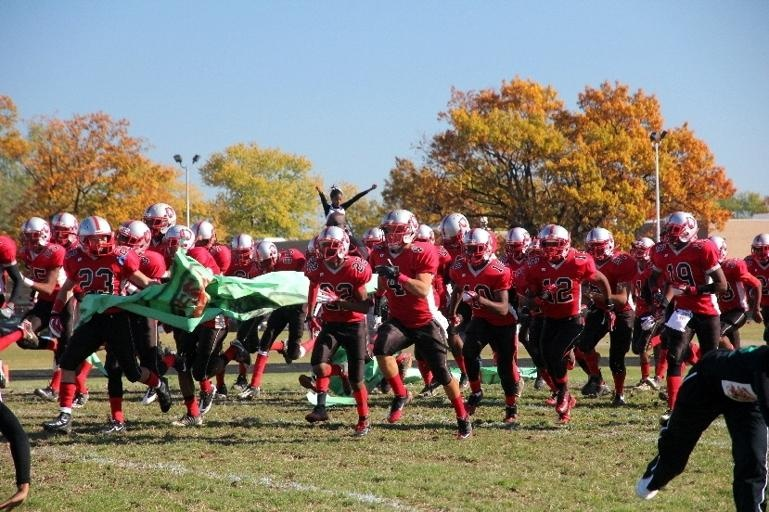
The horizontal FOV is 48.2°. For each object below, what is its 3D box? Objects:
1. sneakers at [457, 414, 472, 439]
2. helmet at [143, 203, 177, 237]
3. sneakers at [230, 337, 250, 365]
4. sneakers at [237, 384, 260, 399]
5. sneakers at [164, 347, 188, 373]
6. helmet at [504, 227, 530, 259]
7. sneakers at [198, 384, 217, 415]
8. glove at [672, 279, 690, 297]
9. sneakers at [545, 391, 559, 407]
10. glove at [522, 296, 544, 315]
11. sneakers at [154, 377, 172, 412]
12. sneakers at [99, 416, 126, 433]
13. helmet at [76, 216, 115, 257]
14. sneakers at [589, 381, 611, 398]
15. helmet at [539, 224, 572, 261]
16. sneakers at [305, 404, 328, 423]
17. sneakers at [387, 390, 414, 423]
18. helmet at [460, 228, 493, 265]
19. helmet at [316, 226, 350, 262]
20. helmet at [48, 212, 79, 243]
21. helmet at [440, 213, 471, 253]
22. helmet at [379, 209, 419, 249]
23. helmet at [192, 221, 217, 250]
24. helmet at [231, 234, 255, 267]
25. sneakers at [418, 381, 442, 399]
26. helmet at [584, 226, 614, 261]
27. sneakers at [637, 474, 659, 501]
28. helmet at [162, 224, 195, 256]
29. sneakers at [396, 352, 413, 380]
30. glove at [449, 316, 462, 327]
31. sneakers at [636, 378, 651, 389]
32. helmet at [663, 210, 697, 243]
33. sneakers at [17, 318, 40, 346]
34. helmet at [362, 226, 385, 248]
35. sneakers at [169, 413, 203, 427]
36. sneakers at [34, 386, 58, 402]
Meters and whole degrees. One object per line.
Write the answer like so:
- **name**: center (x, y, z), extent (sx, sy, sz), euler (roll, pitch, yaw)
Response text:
- **sneakers**: center (0.969, 2.088, 10.581), extent (0.115, 0.208, 0.328), euler (-4, 23, 15)
- **helmet**: center (-3.259, -0.538, 12.368), extent (0.368, 0.388, 0.485), euler (-7, -7, 28)
- **sneakers**: center (-2.149, 1.420, 12.870), extent (0.186, 0.227, 0.544), euler (-34, -35, -13)
- **sneakers**: center (-2.070, 2.047, 13.046), extent (0.133, 0.161, 0.381), euler (-2, -1, 39)
- **sneakers**: center (-2.726, 1.352, 11.390), extent (0.141, 0.193, 0.330), euler (-8, 24, -38)
- **helmet**: center (2.020, -0.231, 13.137), extent (0.372, 0.397, 0.472), euler (-6, 0, 32)
- **sneakers**: center (-2.509, 1.974, 11.972), extent (0.183, 0.492, 0.225), euler (3, -13, 35)
- **glove**: center (3.854, 0.417, 11.223), extent (0.225, 0.109, 0.165), euler (-2, 21, 1)
- **sneakers**: center (2.386, 2.046, 12.403), extent (0.120, 0.238, 0.360), euler (-4, -9, 30)
- **glove**: center (2.052, 0.611, 11.952), extent (0.317, 0.240, 0.317), euler (-4, -16, 1)
- **sneakers**: center (-3.003, 1.846, 11.549), extent (0.173, 0.507, 0.220), euler (-4, 8, 38)
- **sneakers**: center (-3.481, 2.144, 10.926), extent (0.358, 0.156, 0.119), euler (1, -1, -18)
- **helmet**: center (-3.627, -0.272, 10.786), extent (0.379, 0.396, 0.500), euler (-4, 18, -28)
- **sneakers**: center (3.196, 2.001, 12.910), extent (0.150, 0.191, 0.424), euler (-9, -13, 36)
- **helmet**: center (2.249, -0.175, 11.579), extent (0.376, 0.416, 0.495), euler (-3, -4, 19)
- **sneakers**: center (-0.928, 2.052, 11.222), extent (0.140, 0.185, 0.391), euler (-7, -12, 30)
- **sneakers**: center (0.140, 1.987, 11.555), extent (0.180, 0.498, 0.226), euler (4, -37, 49)
- **helmet**: center (1.178, -0.126, 11.158), extent (0.343, 0.404, 0.475), euler (-4, -1, 20)
- **helmet**: center (-0.671, -0.168, 10.702), extent (0.332, 0.365, 0.450), euler (-4, -8, 13)
- **helmet**: center (-4.775, -0.466, 12.873), extent (0.462, 0.509, 0.628), euler (-1, -5, 0)
- **helmet**: center (0.964, -0.359, 12.706), extent (0.412, 0.473, 0.564), euler (-11, 2, 27)
- **helmet**: center (0.247, -0.339, 11.263), extent (0.412, 0.493, 0.525), euler (-7, -13, 24)
- **helmet**: center (-2.894, -0.363, 13.401), extent (0.343, 0.428, 0.435), euler (3, 4, 13)
- **helmet**: center (-2.271, -0.143, 13.707), extent (0.378, 0.446, 0.505), euler (-1, -2, -1)
- **sneakers**: center (0.683, 2.051, 13.318), extent (0.131, 0.170, 0.391), euler (-9, -4, 32)
- **helmet**: center (3.155, -0.198, 12.856), extent (0.366, 0.415, 0.509), euler (-15, 0, 25)
- **sneakers**: center (2.405, 2.144, 7.993), extent (0.217, 0.215, 0.218), euler (5, 5, 11)
- **helmet**: center (-2.920, -0.238, 12.105), extent (0.529, 0.424, 0.394), euler (4, -8, -32)
- **sneakers**: center (0.269, 1.660, 13.146), extent (0.153, 0.384, 0.243), euler (11, 4, 9)
- **glove**: center (1.002, 0.905, 12.406), extent (0.181, 0.133, 0.403), euler (2, -9, -4)
- **sneakers**: center (4.003, 1.969, 13.339), extent (0.116, 0.140, 0.316), euler (-5, -12, 12)
- **helmet**: center (3.996, -0.400, 11.611), extent (0.467, 0.357, 0.359), euler (5, -5, -25)
- **sneakers**: center (-5.124, 1.077, 12.326), extent (0.186, 0.150, 0.403), euler (21, 16, -45)
- **helmet**: center (-0.211, -0.332, 14.291), extent (0.324, 0.367, 0.433), euler (1, -6, 2)
- **sneakers**: center (-2.619, 2.134, 11.302), extent (0.431, 0.167, 0.152), euler (4, -2, -9)
- **sneakers**: center (-4.975, 2.007, 12.612), extent (0.198, 0.149, 0.409), euler (-11, -4, 5)
